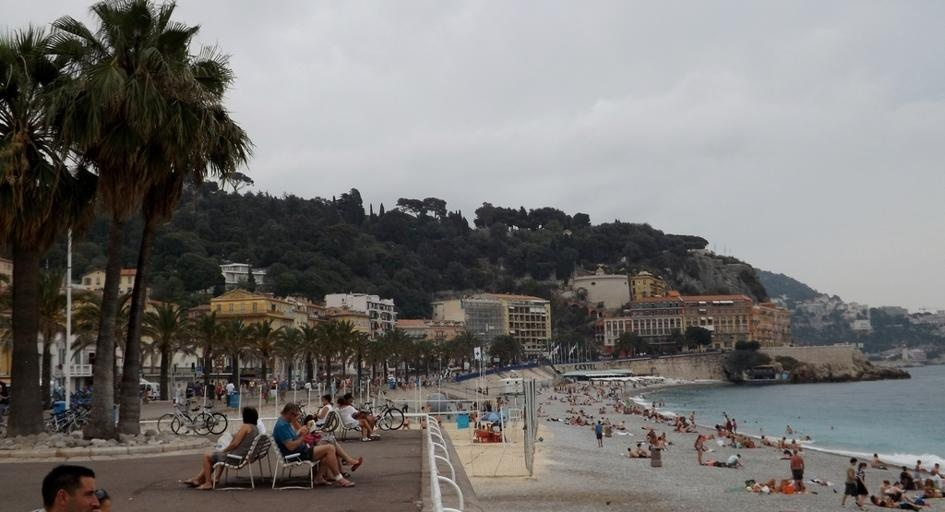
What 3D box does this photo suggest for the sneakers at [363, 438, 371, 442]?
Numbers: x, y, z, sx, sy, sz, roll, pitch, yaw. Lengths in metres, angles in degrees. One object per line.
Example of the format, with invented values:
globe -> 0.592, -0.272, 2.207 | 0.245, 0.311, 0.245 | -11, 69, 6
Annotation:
sneakers -> -5.570, 9.802, 51.384 | 0.492, 0.205, 0.174 | -4, 2, 3

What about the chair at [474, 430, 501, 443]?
chair -> 0.945, 12.434, 66.133 | 1.226, 0.436, 0.944 | -6, -7, 38

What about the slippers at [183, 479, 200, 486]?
slippers -> -13.041, 10.523, 44.743 | 0.720, 0.298, 0.263 | -6, -11, 17

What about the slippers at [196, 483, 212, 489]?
slippers -> -12.354, 10.633, 44.465 | 0.773, 0.297, 0.226 | -6, -11, 15

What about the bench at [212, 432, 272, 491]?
bench -> -10.898, 9.849, 45.456 | 2.164, 2.224, 2.658 | -1, -13, 0

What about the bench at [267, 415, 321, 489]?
bench -> -8.507, 9.358, 45.474 | 1.877, 2.365, 2.528 | -5, 2, -10
